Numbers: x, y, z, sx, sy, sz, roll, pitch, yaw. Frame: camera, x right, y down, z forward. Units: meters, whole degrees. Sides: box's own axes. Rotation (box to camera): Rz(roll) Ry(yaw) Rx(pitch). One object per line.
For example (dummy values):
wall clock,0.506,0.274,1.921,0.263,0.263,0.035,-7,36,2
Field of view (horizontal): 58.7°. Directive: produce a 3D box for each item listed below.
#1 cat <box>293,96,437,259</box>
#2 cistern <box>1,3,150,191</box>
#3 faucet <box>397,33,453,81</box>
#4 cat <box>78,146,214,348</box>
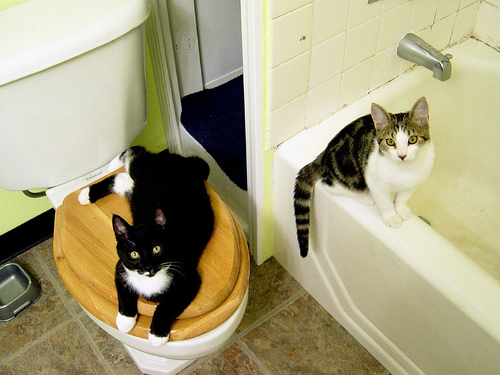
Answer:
cat,0.310,-0.070,1.262,0.378,0.457,0.424,0,56,12
cistern,-0.519,-0.271,1.287,0.404,0.386,0.247,-31,58,-30
faucet,0.569,-0.433,1.513,0.113,0.098,0.198,-36,57,-21
cat,-0.270,0.084,1.312,0.408,0.273,0.604,-20,52,-17
